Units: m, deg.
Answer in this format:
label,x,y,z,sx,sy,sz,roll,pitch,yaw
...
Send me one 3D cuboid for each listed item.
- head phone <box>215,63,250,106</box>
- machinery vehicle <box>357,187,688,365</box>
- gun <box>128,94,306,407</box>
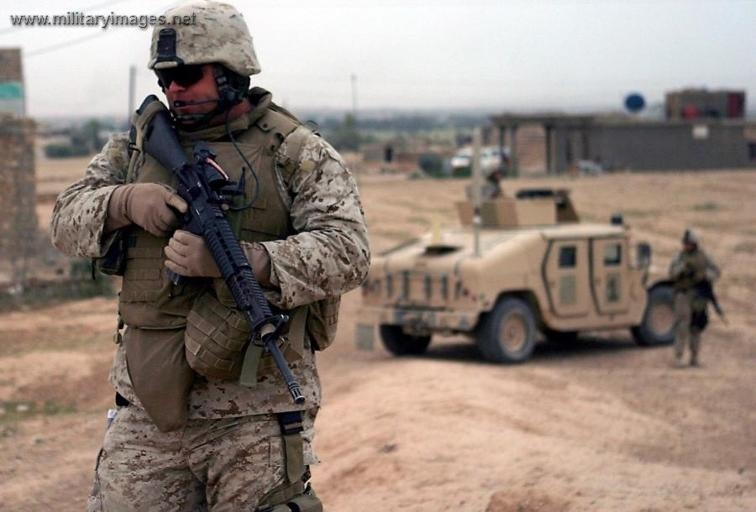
label,x,y,z,sx,sy,sz,roll,pitch,yaw
head phone,-0.722,-0.837,4.316,0.175,0.169,0.144,2,0,-30
machinery vehicle,1.439,0.160,7.874,2.060,1.137,1.435,-6,5,-35
gun,-0.755,0.037,4.199,0.264,1.605,0.739,-1,-34,-49
